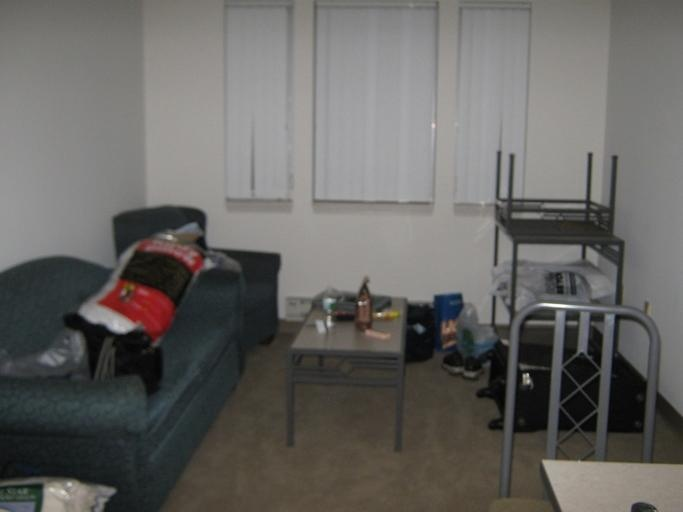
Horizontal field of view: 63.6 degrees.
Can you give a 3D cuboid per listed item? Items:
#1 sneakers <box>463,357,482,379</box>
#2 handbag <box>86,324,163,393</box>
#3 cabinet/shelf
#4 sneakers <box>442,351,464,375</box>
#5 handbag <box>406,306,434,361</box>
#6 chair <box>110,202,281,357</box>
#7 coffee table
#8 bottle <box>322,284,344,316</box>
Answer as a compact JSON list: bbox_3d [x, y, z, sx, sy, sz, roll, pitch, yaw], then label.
[{"bbox_3d":[0.957,0.822,4.037,0.097,0.077,0.165,1,6,18],"label":"sneakers"},{"bbox_3d":[-1.081,0.571,2.706,0.303,0.289,0.340,1,-2,14],"label":"handbag"},{"bbox_3d":[1.613,-0.071,4.309,0.889,1.444,0.848,3,-2,45],"label":"cabinet/shelf"},{"bbox_3d":[0.848,0.809,4.134,0.149,0.114,0.262,-3,15,-14],"label":"sneakers"},{"bbox_3d":[0.612,0.619,4.302,0.210,0.410,0.236,2,14,6],"label":"handbag"},{"bbox_3d":[-0.949,0.258,4.545,1.279,1.274,1.217,10,11,11],"label":"chair"},{"bbox_3d":[0.044,0.707,3.409,0.675,0.610,0.806,2,14,6],"label":"coffee table"},{"bbox_3d":[-0.069,0.305,3.622,0.117,0.160,0.155,0,2,-5],"label":"bottle"}]
